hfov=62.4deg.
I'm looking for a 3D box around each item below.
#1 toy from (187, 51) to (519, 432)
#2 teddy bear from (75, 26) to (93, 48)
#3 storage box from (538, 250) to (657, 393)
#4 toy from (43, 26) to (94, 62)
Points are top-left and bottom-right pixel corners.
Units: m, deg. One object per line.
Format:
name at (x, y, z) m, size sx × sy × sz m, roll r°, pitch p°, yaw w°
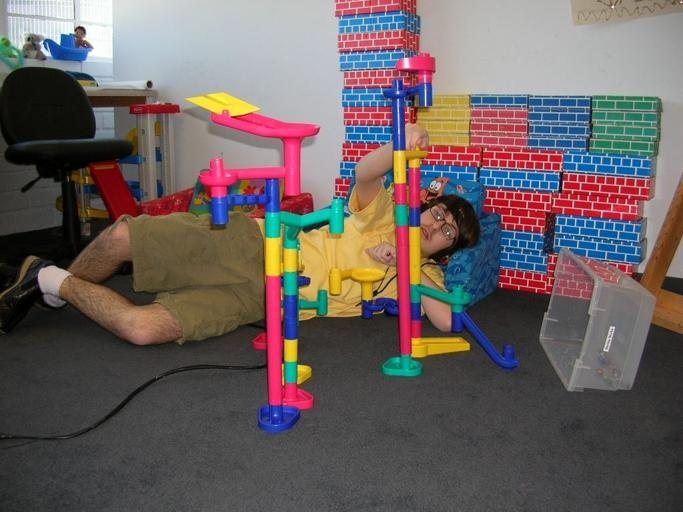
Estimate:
toy at (0.024, -0.094, 1.846) m, size 0.997 × 1.054 × 0.611 m, roll -11°, pitch 23°, yaw -24°
teddy bear at (-1.786, -1.483, 3.903) m, size 0.121 × 0.145 × 0.066 m, roll -13°, pitch 64°, yaw -15°
storage box at (0.904, 0.244, 1.982) m, size 0.182 × 0.380 × 0.342 m, roll 3°, pitch 19°, yaw -10°
toy at (-1.852, -1.405, 3.831) m, size 0.264 × 0.206 × 0.224 m, roll -7°, pitch 28°, yaw -32°
